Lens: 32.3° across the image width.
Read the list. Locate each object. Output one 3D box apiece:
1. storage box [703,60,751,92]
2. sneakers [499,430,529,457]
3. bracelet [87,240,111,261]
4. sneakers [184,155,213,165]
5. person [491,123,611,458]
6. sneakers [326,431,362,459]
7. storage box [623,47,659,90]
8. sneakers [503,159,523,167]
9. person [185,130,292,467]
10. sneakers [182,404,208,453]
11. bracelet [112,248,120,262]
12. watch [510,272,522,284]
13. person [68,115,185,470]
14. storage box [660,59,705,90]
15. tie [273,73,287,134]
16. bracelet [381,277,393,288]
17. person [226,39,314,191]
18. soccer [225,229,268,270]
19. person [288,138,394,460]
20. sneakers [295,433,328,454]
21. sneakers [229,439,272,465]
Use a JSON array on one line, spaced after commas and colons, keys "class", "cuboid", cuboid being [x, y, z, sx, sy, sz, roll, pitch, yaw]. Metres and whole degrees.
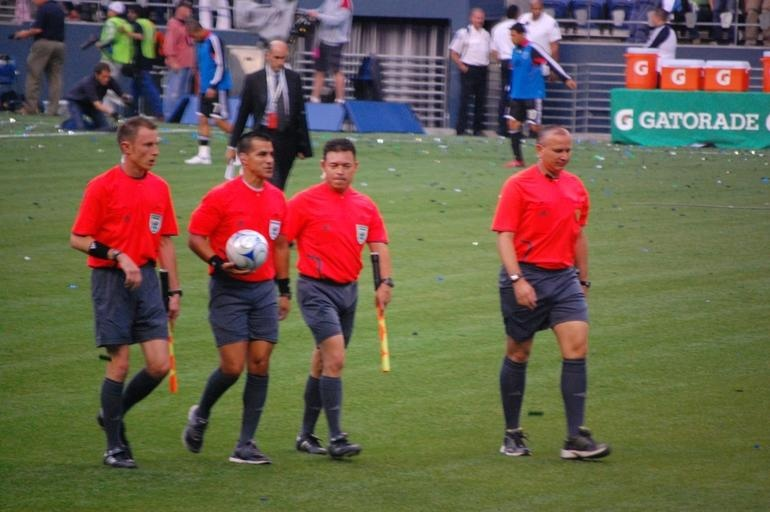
[{"class": "storage box", "cuboid": [6.885, -3.526, 26.876, 1.153, 0.577, 0.645, 2, 5, 8]}, {"class": "sneakers", "cuboid": [1.177, 1.675, 12.012, 0.257, 0.224, 0.138, 1, 11, 1]}, {"class": "bracelet", "cuboid": [-2.517, -0.047, 11.727, 0.183, 0.168, 0.094, 0, 12, -8]}, {"class": "sneakers", "cuboid": [-3.026, -1.554, 21.637, 0.373, 0.110, 0.169, 1, 1, -1]}, {"class": "person", "cuboid": [1.496, 0.297, 12.151, 1.058, 2.909, 1.135, 2, 12, 1]}, {"class": "sneakers", "cuboid": [-0.383, 1.699, 11.868, 0.368, 0.148, 0.168, -9, -3, 44]}, {"class": "storage box", "cuboid": [5.197, -3.771, 26.934, 0.642, 0.807, 0.424, 2, 12, 5]}, {"class": "sneakers", "cuboid": [2.184, -1.558, 22.460, 0.148, 0.087, 0.263, 0, 6, -43]}, {"class": "person", "cuboid": [-1.336, 0.368, 11.968, 0.916, 2.853, 0.970, 1, 12, -2]}, {"class": "sneakers", "cuboid": [-1.709, 1.539, 11.971, 0.182, 0.434, 0.236, 19, -27, -40]}, {"class": "bracelet", "cuboid": [-2.360, -0.006, 11.706, 0.075, 0.094, 0.058, 4, 12, 14]}, {"class": "watch", "cuboid": [1.184, 0.201, 12.071, 0.122, 0.057, 0.102, 2, -12, -2]}, {"class": "person", "cuboid": [-2.329, 0.291, 11.862, 0.859, 3.002, 1.026, 5, 12, 17]}, {"class": "storage box", "cuboid": [5.885, -3.598, 26.610, 0.809, 0.461, 0.718, 2, 4, 15]}, {"class": "tie", "cuboid": [-1.288, -1.945, 16.770, 0.152, 0.680, 0.205, 1, 12, -4]}, {"class": "bracelet", "cuboid": [0.018, 0.245, 12.414, 0.113, 0.058, 0.084, 11, -18, 45]}, {"class": "person", "cuboid": [-1.471, -1.487, 16.894, 1.247, 2.175, 0.961, -7, 16, -28]}, {"class": "soccer", "cuboid": [-1.232, -0.052, 11.902, 0.417, 0.308, 0.353, -1, -2, 3]}, {"class": "person", "cuboid": [-0.462, 0.361, 12.129, 0.970, 2.806, 1.002, 2, 12, 5]}, {"class": "sneakers", "cuboid": [-0.679, 1.710, 12.096, 0.368, 0.122, 0.123, 2, 3, 26]}, {"class": "sneakers", "cuboid": [-1.210, 1.758, 11.919, 0.447, 0.168, 0.157, 2, -6, 18]}]
